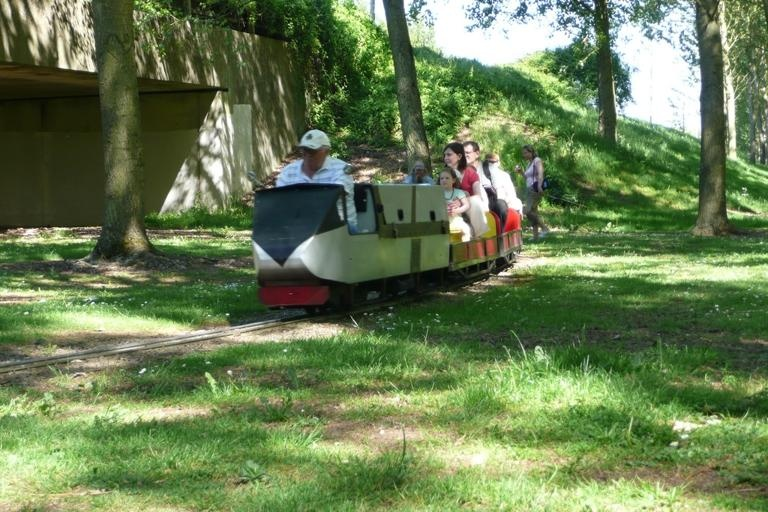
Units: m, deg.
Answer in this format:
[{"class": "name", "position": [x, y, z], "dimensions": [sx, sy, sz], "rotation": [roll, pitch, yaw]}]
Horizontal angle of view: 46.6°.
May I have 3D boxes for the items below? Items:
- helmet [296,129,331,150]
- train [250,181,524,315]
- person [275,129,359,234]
[{"class": "helmet", "position": [-1.230, -2.092, 16.070], "dimensions": [0.347, 0.259, 0.489], "rotation": [3, 5, 27]}, {"class": "train", "position": [-0.166, -0.311, 17.098], "dimensions": [1.160, 2.557, 5.158], "rotation": [12, 19, 42]}, {"class": "person", "position": [-1.196, -1.349, 16.109], "dimensions": [1.361, 1.800, 0.645], "rotation": [5, 15, 21]}]
